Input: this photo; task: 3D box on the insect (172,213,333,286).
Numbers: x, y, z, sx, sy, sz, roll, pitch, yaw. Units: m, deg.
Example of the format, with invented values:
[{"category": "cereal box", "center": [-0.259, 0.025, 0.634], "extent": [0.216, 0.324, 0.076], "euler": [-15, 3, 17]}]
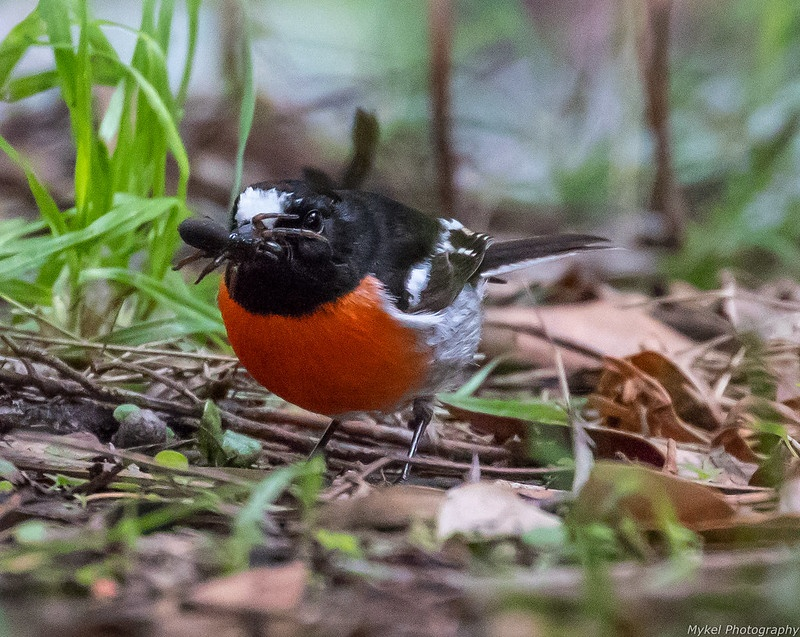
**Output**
[{"category": "insect", "center": [-0.387, -0.202, 2.147], "extent": [0.375, 0.113, 0.315], "euler": [-13, 21, -16]}]
